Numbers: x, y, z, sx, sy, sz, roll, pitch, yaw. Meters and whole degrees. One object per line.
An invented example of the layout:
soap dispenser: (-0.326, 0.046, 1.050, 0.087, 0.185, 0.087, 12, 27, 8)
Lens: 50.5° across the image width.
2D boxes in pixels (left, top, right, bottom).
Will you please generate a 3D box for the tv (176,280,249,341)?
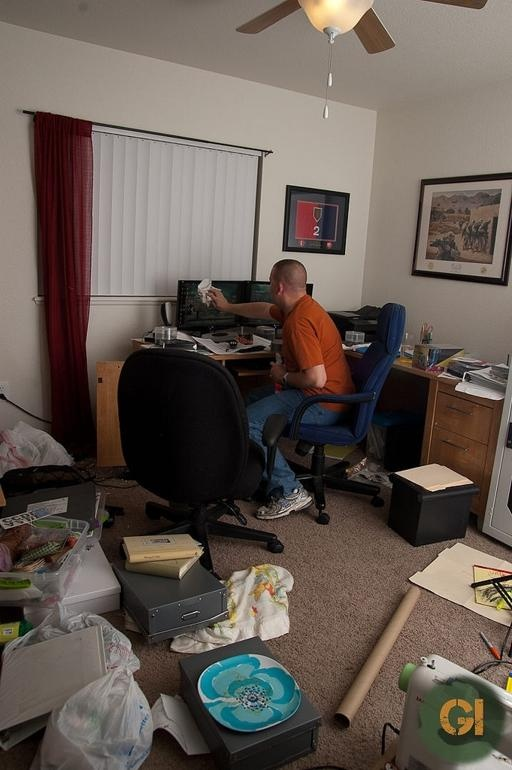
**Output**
tv: (-0.283, -0.477, 3.396, 0.383, 0.277, 0.109, -7, 22, -32)

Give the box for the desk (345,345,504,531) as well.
desk: (0.846, 0.275, 2.700, 0.266, 0.488, 0.767, 7, 17, -27)

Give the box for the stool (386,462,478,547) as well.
stool: (0.750, 0.504, 2.491, 0.373, 0.370, 0.307, -3, 16, -19)

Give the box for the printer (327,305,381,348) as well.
printer: (0.705, -0.439, 3.742, 0.311, 0.139, 0.314, -7, 24, -16)

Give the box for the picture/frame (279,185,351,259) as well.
picture/frame: (0.427, -1.252, 4.089, 0.630, 0.540, 0.045, -1, 17, -35)

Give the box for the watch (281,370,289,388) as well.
watch: (0.139, -0.023, 2.624, 0.040, 0.060, 0.064, 9, 7, 13)

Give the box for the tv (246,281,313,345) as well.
tv: (0.171, -0.474, 3.641, 0.475, 0.471, 0.403, 4, 6, 25)

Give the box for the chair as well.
chair: (-0.160, 0.165, 2.477, 1.145, 1.410, 1.024, -10, 17, -35)

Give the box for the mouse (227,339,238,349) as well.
mouse: (-0.145, -0.251, 3.319, 0.055, 0.062, 0.059, 2, 0, 9)

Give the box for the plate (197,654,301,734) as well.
plate: (-0.018, 0.711, 1.260, 0.229, 0.017, 0.230, -3, 12, -31)
